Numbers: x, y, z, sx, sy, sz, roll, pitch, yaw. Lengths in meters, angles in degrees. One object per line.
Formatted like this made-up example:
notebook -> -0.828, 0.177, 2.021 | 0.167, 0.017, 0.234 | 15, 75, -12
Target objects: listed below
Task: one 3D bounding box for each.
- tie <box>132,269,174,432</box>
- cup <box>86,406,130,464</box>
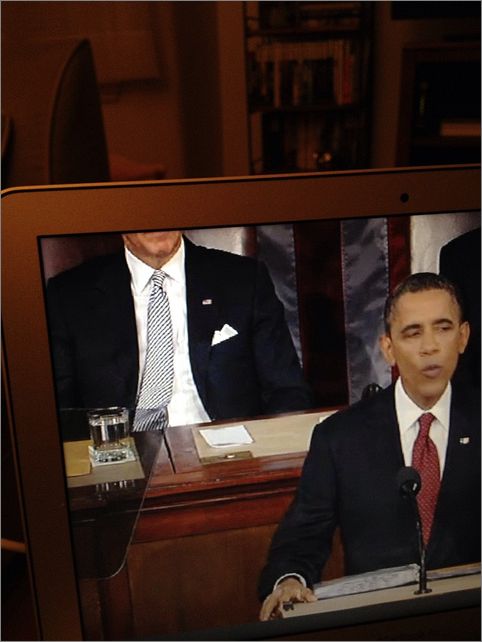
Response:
tie -> -0.098, 0.033, 0.592 | 0.054, 0.168, 0.028 | -7, 15, -7
cup -> -0.135, 0.118, 0.596 | 0.053, 0.069, 0.049 | -1, 2, 0
